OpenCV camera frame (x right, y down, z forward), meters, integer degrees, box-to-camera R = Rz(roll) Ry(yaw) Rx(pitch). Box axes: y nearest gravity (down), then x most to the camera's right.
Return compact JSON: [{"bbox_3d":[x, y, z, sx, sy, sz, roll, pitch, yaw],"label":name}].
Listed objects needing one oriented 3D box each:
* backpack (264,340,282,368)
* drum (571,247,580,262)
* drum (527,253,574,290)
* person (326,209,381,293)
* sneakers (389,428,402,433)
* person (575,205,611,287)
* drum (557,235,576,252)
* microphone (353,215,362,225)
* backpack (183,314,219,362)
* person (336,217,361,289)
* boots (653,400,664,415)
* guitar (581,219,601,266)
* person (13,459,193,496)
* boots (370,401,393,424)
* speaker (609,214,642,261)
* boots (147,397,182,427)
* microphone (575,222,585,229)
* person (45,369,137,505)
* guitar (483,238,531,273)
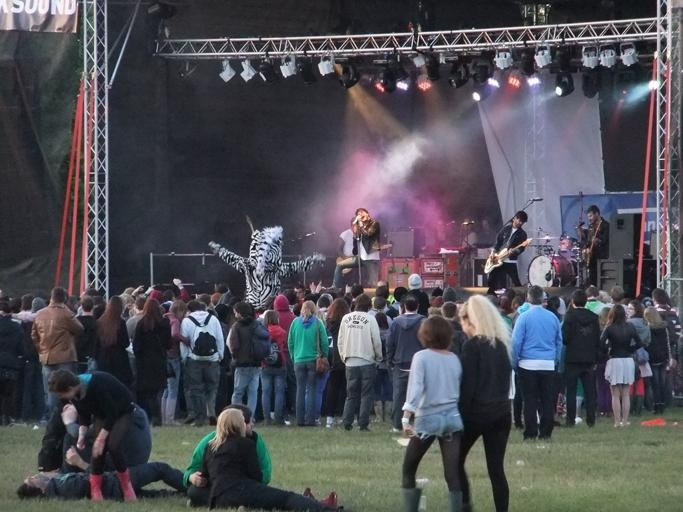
[{"bbox_3d":[-1.249,1.769,29.023,0.386,0.778,0.564,2,-2,0],"label":"backpack"},{"bbox_3d":[5.141,-0.036,34.595,0.192,0.167,0.335,-2,-4,0],"label":"drum"},{"bbox_3d":[4.477,0.340,34.122,0.777,1.086,1.030,1,1,-44],"label":"drum"},{"bbox_3d":[0.646,-0.223,36.327,0.832,2.155,0.936,-9,13,-39],"label":"person"},{"bbox_3d":[0.988,3.168,28.411,0.218,0.097,0.077,-5,-4,31],"label":"sneakers"},{"bbox_3d":[5.485,-0.247,34.219,0.555,1.751,0.632,-5,11,-26],"label":"person"},{"bbox_3d":[5.098,-0.256,35.599,0.316,0.301,0.387,11,-23,-7],"label":"drum"},{"bbox_3d":[0.392,-0.824,35.753,0.079,0.269,0.090,-28,-51,19],"label":"microphone"},{"bbox_3d":[-2.538,1.500,28.590,0.752,0.871,0.454,1,-12,-17],"label":"backpack"},{"bbox_3d":[0.156,0.015,37.330,0.454,1.842,0.513,-8,12,-39],"label":"person"},{"bbox_3d":[6.071,2.933,30.159,0.151,0.264,0.221,-1,-34,4],"label":"boots"},{"bbox_3d":[5.484,-0.284,34.165,0.132,0.915,0.429,26,-31,-18],"label":"guitar"},{"bbox_3d":[-3.778,3.655,25.084,1.594,0.488,1.042,-3,-9,-4],"label":"person"},{"bbox_3d":[0.782,3.011,30.283,0.294,0.387,0.397,-8,-21,28],"label":"boots"},{"bbox_3d":[5.941,-0.408,32.974,0.654,0.985,0.401,-2,-4,11],"label":"speaker"},{"bbox_3d":[-3.346,2.895,29.099,0.546,0.501,0.835,-4,0,-9],"label":"boots"},{"bbox_3d":[5.446,-0.721,36.119,0.222,0.168,0.213,10,6,25],"label":"microphone"},{"bbox_3d":[-3.971,2.716,24.780,1.257,2.165,1.106,-1,9,-42],"label":"person"},{"bbox_3d":[3.572,0.020,34.140,1.207,0.669,0.406,-6,-7,44],"label":"guitar"}]
